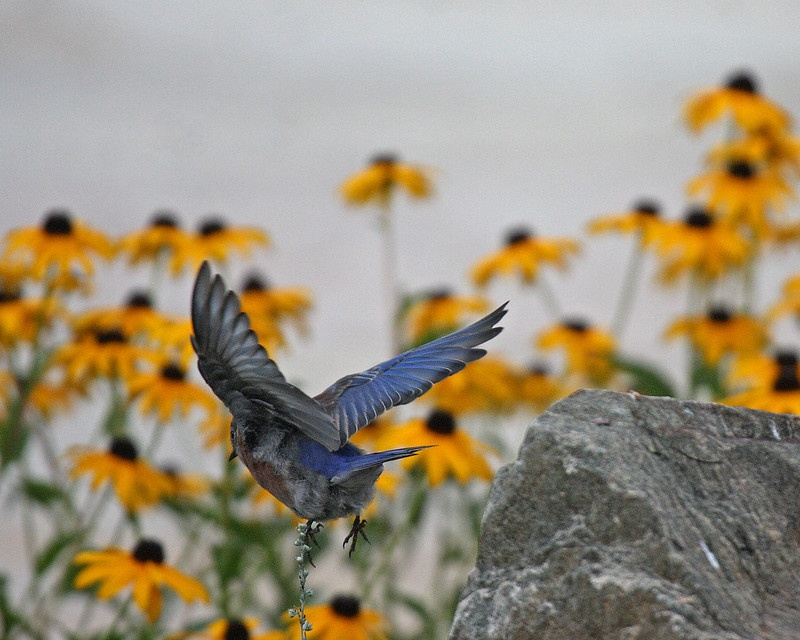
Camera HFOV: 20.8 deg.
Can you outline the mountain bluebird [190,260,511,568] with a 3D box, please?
[{"bbox_3d":[-0.138,0.213,4.558,0.754,0.573,0.648,6,-13,-35],"label":"mountain bluebird"}]
